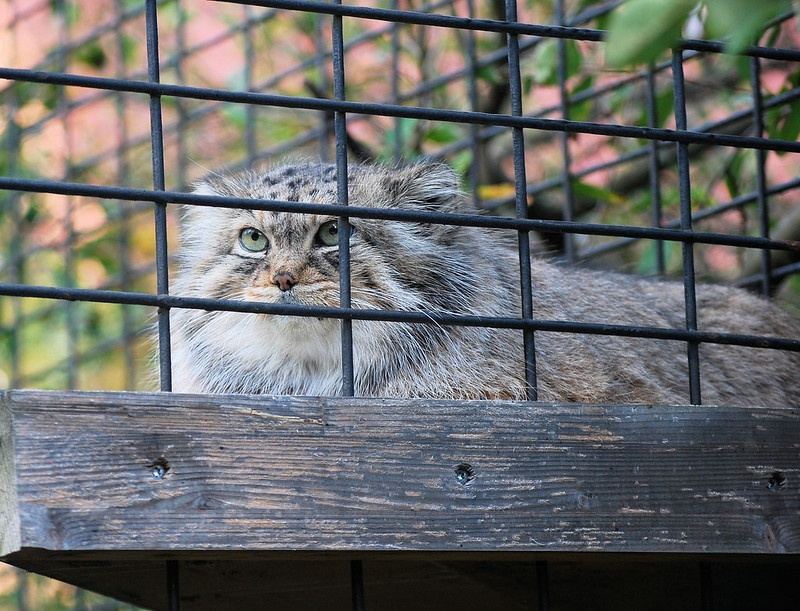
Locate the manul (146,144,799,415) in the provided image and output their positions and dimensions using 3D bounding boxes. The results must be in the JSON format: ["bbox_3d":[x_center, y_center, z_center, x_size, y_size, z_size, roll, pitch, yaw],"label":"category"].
[{"bbox_3d":[0.404,-0.023,7.981,2.481,1.217,0.760,2,-107,-15],"label":"manul"}]
